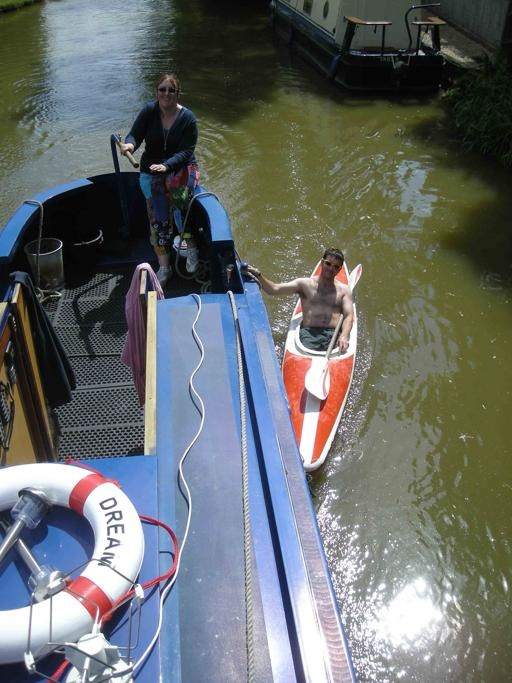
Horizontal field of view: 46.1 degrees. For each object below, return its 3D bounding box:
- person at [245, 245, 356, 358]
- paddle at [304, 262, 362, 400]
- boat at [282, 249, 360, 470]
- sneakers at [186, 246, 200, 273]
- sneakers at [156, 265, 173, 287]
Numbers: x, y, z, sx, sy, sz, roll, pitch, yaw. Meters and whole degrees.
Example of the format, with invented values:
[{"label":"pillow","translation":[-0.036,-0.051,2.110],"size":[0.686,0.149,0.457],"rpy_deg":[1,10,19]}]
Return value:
[{"label":"person","translation":[0.497,-0.398,6.311],"size":[0.657,0.520,1.450],"rpy_deg":[4,38,7]},{"label":"paddle","translation":[0.845,-0.243,6.334],"size":[0.331,0.123,2.531],"rpy_deg":[19,32,4]},{"label":"boat","translation":[0.606,0.150,5.627],"size":[0.424,0.367,2.060],"rpy_deg":[6,47,2]},{"label":"sneakers","translation":[-0.653,-0.832,6.207],"size":[0.086,0.308,0.109],"rpy_deg":[-2,5,-2]},{"label":"sneakers","translation":[-0.910,-0.658,6.004],"size":[0.082,0.121,0.275],"rpy_deg":[1,46,5]}]
